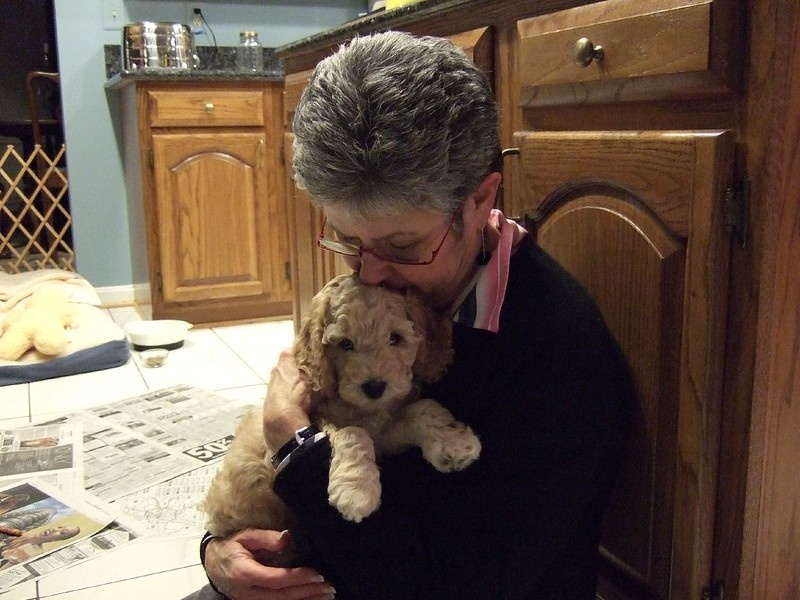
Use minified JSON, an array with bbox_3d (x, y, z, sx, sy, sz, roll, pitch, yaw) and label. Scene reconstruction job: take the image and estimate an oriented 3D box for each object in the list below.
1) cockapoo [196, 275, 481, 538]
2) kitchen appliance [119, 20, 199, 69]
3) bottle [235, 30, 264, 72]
[{"bbox_3d":[-0.121,0.169,1.206,0.583,0.354,0.313,-16,-8,42],"label":"cockapoo"},{"bbox_3d":[-1.305,-1.410,3.673,0.365,0.247,0.385,8,20,17],"label":"kitchen appliance"},{"bbox_3d":[-0.893,-1.472,3.949,0.145,0.243,0.142,-1,25,1],"label":"bottle"}]
